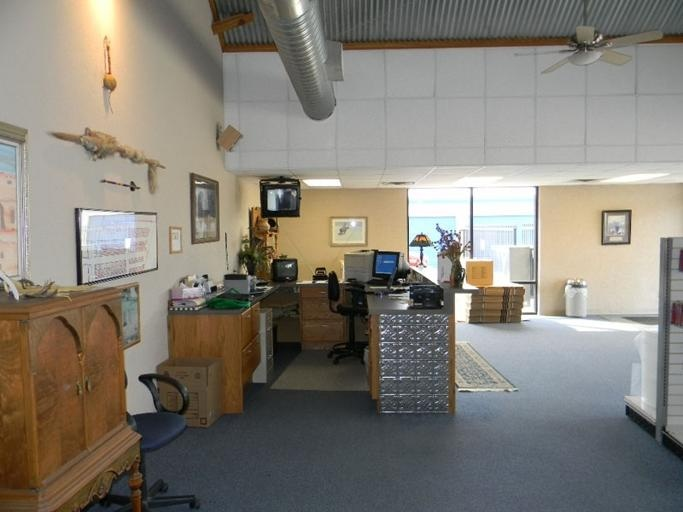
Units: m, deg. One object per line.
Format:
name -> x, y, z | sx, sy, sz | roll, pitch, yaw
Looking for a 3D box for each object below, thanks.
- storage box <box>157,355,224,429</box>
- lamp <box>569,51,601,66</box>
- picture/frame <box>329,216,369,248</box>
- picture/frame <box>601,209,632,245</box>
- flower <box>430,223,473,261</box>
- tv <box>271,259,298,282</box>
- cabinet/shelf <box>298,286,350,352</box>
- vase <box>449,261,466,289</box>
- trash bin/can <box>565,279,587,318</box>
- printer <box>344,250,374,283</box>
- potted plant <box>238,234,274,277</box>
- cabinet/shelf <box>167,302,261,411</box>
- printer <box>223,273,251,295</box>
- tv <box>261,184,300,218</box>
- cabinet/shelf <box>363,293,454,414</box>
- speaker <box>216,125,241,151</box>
storage box -> -1.692, 1.522, 5.584 | 0.563, 0.608, 0.461 | 7, -32, -27
lamp -> 2.437, -1.984, 5.445 | 0.162, 0.046, 0.173 | -2, -8, 4
picture/frame -> 0.135, -0.470, 10.127 | 0.528, 0.491, 0.045 | 0, 0, -2
picture/frame -> 5.284, -0.570, 10.450 | 0.617, 0.868, 0.058 | 0, 2, -1
flower -> 1.244, -0.154, 6.134 | 0.348, 0.386, 0.544 | 1, 8, 10
tv -> -0.888, 0.243, 8.488 | 0.338, 0.327, 0.347 | 1, -4, -27
cabinet/shelf -> -0.305, 1.131, 8.580 | 0.817, 1.104, 0.824 | -8, -34, 8
vase -> 1.259, 0.196, 5.917 | 0.151, 0.297, 0.202 | 1, 8, 12
trash bin/can -> 4.452, 0.822, 10.346 | 0.420, 0.701, 0.303 | 5, 9, 33
printer -> 0.340, 0.141, 8.607 | 0.642, 0.519, 0.695 | -2, 3, -3
potted plant -> -1.330, 0.020, 8.304 | 0.525, 0.577, 0.527 | 0, 2, -30
cabinet/shelf -> -1.432, 0.870, 6.577 | 0.846, 1.141, 1.567 | 3, 19, -1
printer -> -1.295, 0.348, 6.820 | 0.246, 0.200, 0.252 | 1, 3, 2
tv -> -0.836, -0.789, 7.952 | 0.702, 0.725, 0.400 | 0, 3, -3
cabinet/shelf -> 0.850, 0.816, 6.684 | 0.941, 1.293, 1.827 | 0, 25, 8
speaker -> -1.469, -1.546, 7.103 | 0.309, 0.332, 0.335 | -1, 8, -3
